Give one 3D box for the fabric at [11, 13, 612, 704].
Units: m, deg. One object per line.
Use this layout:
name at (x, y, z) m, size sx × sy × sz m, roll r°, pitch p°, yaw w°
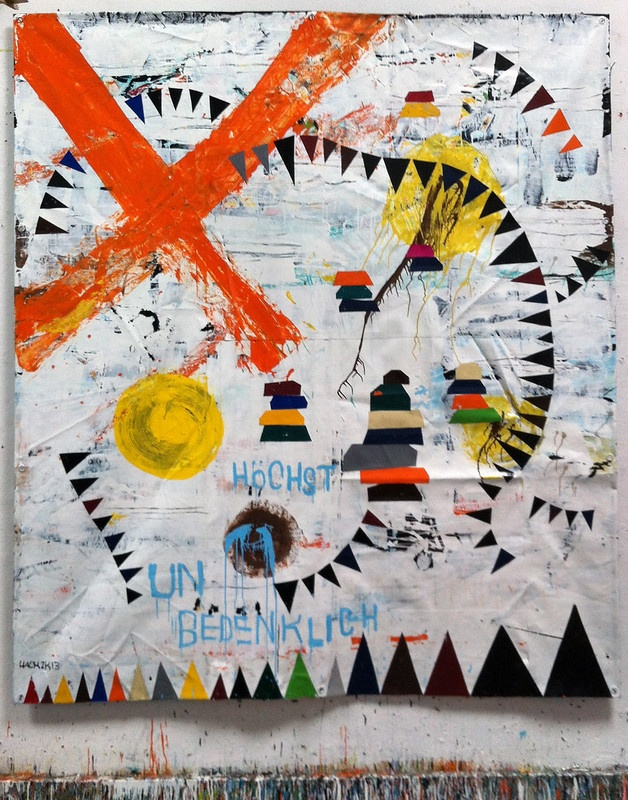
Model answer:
fabric at (-0.029, -0.085, 2.243) m, size 1.207 × 1.367 × 0.024 m, roll 0°, pitch 1°, yaw -6°
